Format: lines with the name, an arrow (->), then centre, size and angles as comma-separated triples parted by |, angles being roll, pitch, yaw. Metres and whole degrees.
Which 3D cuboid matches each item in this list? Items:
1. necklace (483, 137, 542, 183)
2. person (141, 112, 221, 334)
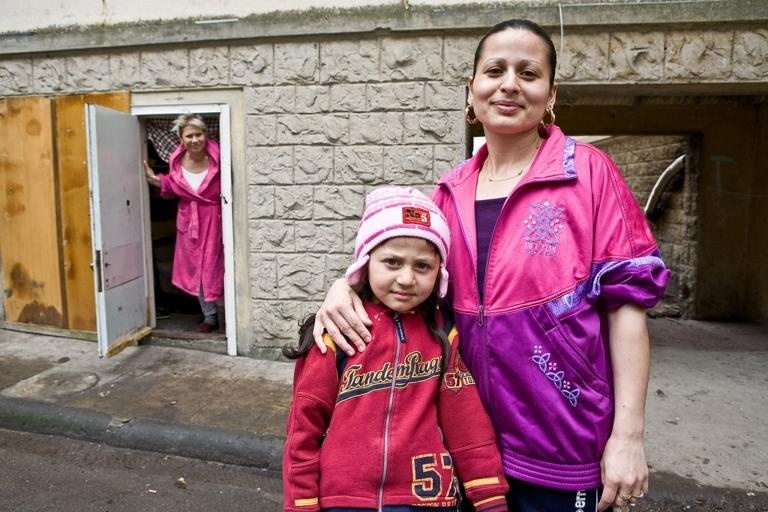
necklace -> 0.815, -0.599, 4.322 | 0.280, 0.370, 0.197 | 3, -22, 12
person -> -2.191, -0.353, 7.585 | 0.758, 2.450, 0.610 | 2, 3, -12
